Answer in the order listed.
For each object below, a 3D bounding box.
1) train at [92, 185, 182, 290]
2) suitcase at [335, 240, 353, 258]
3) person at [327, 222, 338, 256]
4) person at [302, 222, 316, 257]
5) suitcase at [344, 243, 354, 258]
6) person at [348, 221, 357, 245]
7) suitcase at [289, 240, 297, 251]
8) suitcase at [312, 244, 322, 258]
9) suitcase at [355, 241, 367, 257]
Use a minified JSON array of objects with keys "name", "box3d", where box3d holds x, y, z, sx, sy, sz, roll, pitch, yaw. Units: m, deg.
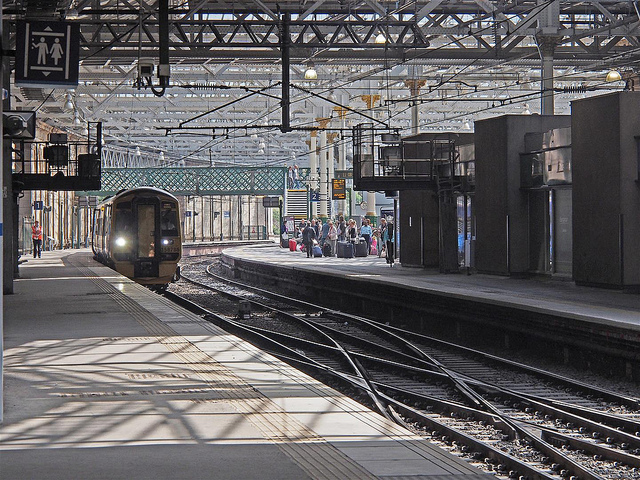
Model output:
[{"name":"train","box3d":[-6.234,-0.237,30.718,2.230,2.767,3.736,6,2,-22]},{"name":"suitcase","box3d":[1.017,0.414,39.244,0.640,0.702,1.209,-1,-8,3]},{"name":"person","box3d":[0.488,-0.103,40.055,0.341,1.293,0.740,6,2,8]},{"name":"person","box3d":[-0.562,-0.003,40.813,0.495,1.332,0.888,6,2,0]},{"name":"suitcase","box3d":[1.181,0.437,38.942,0.492,0.930,0.530,-1,0,1]},{"name":"person","box3d":[1.391,-0.405,39.869,0.354,0.896,0.701,6,2,2]},{"name":"suitcase","box3d":[-1.615,0.279,51.306,0.476,0.881,0.503,-1,4,-18]},{"name":"suitcase","box3d":[-0.233,0.442,41.073,0.484,0.748,0.403,0,-18,-15]},{"name":"suitcase","box3d":[1.762,0.399,40.092,0.560,1.004,0.569,0,3,-9]}]
